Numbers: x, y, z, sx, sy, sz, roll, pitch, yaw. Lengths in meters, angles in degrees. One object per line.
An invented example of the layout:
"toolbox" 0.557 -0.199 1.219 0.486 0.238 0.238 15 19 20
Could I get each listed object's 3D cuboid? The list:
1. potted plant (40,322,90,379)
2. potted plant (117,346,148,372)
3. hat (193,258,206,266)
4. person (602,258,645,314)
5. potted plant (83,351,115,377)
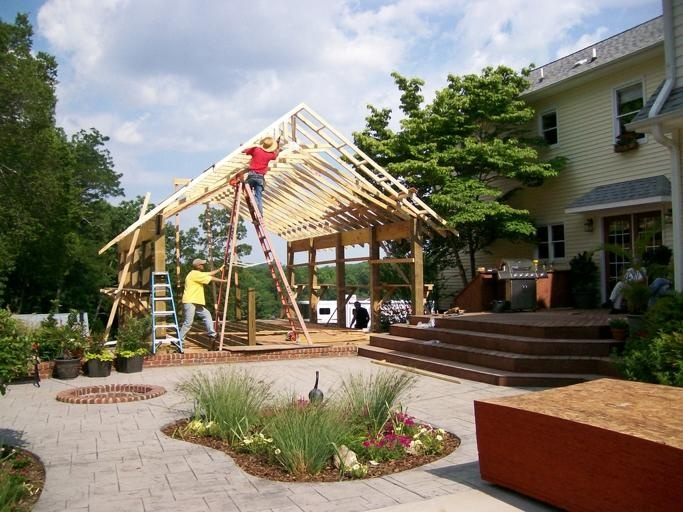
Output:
"potted plant" -5.105 1.709 10.111 1.143 1.124 0.906 -1 -3 2
"potted plant" -4.110 2.019 10.274 0.604 0.456 0.380 -1 -7 -5
"hat" -3.054 0.124 11.484 0.278 0.098 0.177 -13 6 -29
"person" 5.781 0.633 10.834 0.653 0.950 2.838 -5 -9 27
"potted plant" -4.546 2.006 9.917 0.505 0.501 0.331 0 -8 -13
